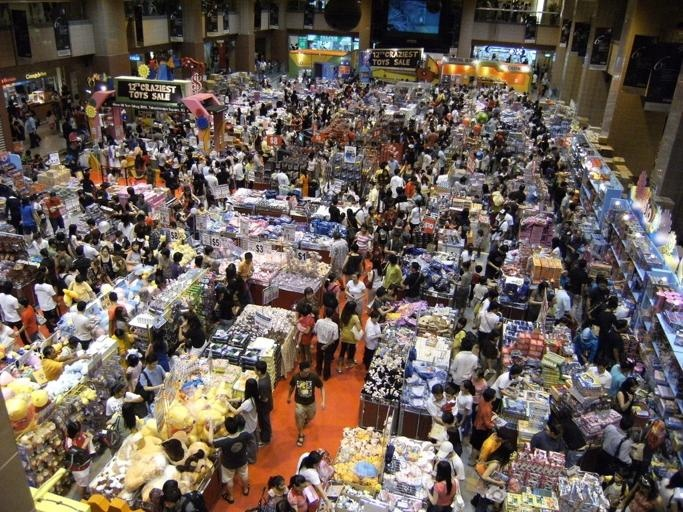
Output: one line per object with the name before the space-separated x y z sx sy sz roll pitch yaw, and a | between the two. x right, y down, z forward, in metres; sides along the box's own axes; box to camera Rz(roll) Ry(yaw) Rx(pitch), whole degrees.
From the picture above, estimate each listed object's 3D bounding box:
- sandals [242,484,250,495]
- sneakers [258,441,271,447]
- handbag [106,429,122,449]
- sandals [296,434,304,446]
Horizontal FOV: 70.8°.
sandals | -1.389 3.371 6.968 0.083 0.176 0.067 1 10 -9
sneakers | -1.246 2.986 7.608 0.145 0.106 0.073 -1 60 -8
handbag | -3.349 2.709 7.037 0.219 0.308 0.088 2 1 15
sandals | -0.667 2.915 7.664 0.073 0.083 0.230 -1 36 -2
